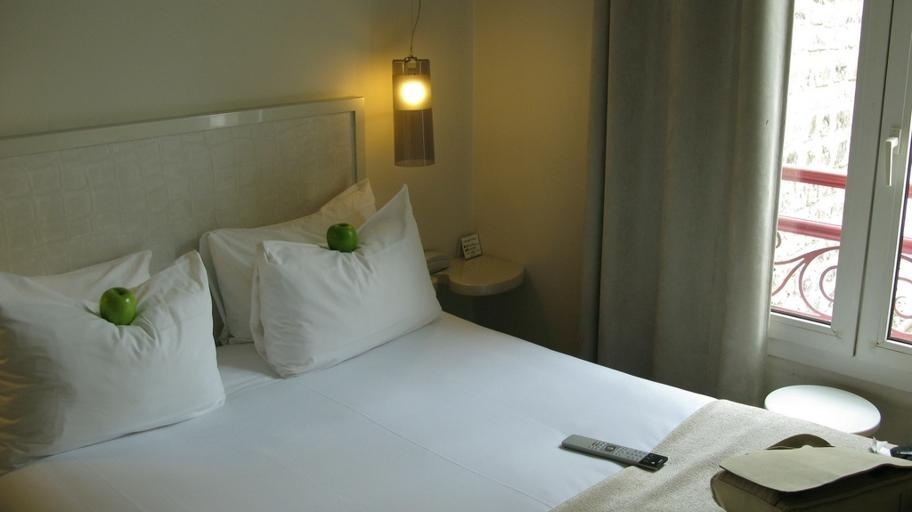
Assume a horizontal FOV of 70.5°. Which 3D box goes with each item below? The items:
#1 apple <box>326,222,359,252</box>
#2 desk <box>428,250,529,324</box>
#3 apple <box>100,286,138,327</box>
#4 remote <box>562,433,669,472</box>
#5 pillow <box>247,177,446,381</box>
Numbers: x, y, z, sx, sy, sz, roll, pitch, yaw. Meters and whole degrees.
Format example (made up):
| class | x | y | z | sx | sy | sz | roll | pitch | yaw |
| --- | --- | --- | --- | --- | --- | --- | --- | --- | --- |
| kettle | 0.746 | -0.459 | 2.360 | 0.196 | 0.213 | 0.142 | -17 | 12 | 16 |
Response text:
| class | x | y | z | sx | sy | sz | roll | pitch | yaw |
| --- | --- | --- | --- | --- | --- | --- | --- | --- | --- |
| apple | -0.594 | -0.108 | 3.433 | 0.158 | 0.141 | 0.151 | -4 | 14 | -24 |
| desk | 0.142 | 0.269 | 4.265 | 0.424 | 0.572 | 0.464 | -23 | 32 | -40 |
| apple | -1.519 | 0.232 | 2.931 | 0.176 | 0.168 | 0.176 | -7 | 15 | -40 |
| remote | 0.674 | 0.836 | 2.743 | 0.461 | 0.050 | 0.147 | 9 | 28 | 31 |
| pillow | -0.574 | 0.122 | 3.499 | 1.100 | 0.700 | 0.532 | -20 | 26 | -40 |
